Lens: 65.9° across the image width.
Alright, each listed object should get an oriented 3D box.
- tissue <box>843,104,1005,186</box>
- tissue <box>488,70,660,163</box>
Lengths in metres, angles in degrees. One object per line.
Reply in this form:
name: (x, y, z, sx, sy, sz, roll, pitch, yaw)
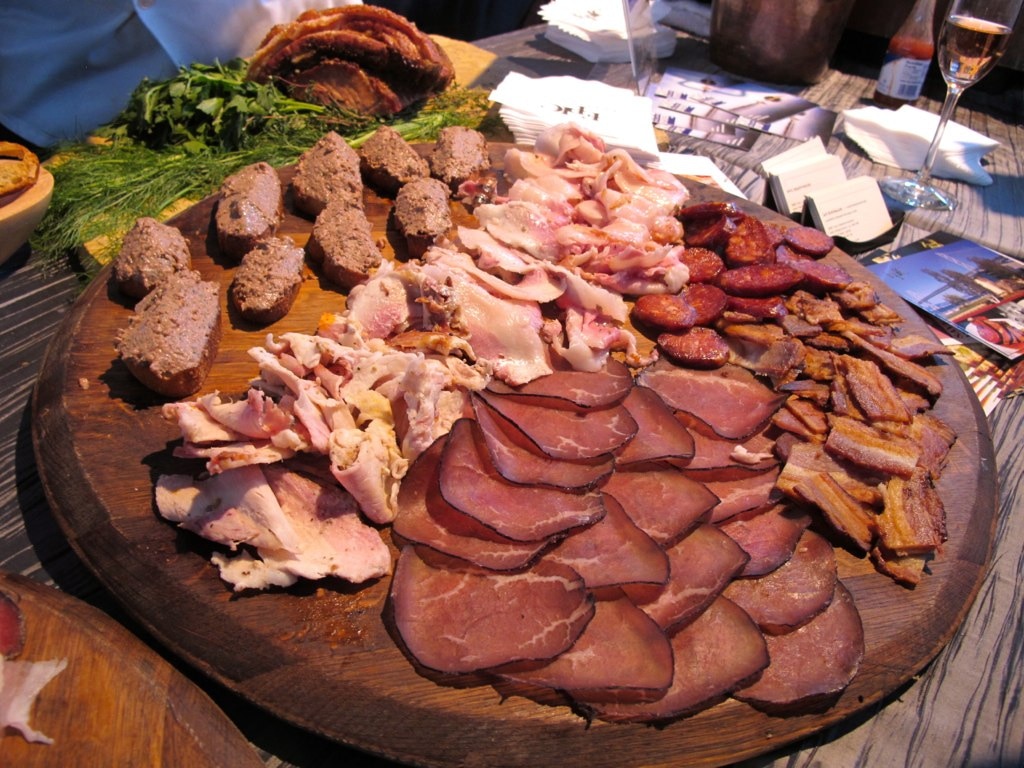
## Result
tissue: (1.776, -1.072, 3.483, 0.610, 0.151, 0.379, 11, 41, 14)
tissue: (0.241, -1.115, 3.168, 0.606, 0.150, 0.488, 0, 41, -10)
